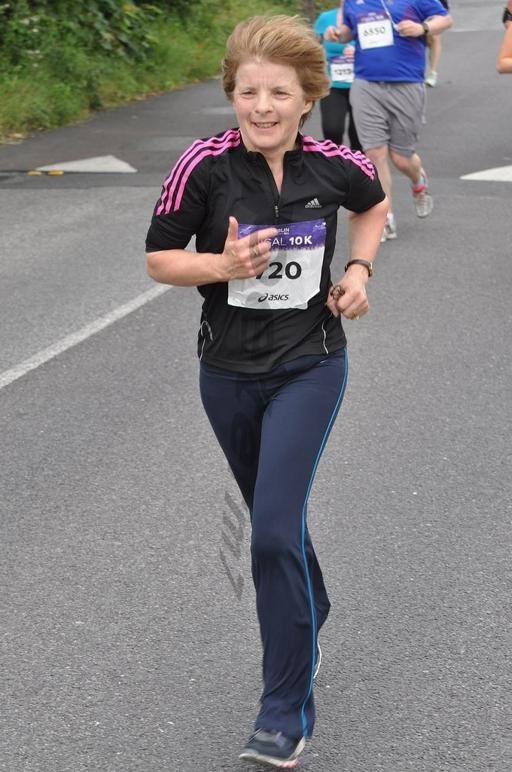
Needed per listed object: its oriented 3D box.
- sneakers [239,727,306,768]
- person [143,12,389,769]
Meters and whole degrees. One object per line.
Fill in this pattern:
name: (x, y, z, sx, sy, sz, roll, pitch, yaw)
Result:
sneakers: (0.031, 0.772, 1.581, 0.152, 0.065, 0.067, 12, 20, -12)
person: (0.019, 0.013, 1.734, 0.501, 1.707, 0.797, 2, 16, 11)
